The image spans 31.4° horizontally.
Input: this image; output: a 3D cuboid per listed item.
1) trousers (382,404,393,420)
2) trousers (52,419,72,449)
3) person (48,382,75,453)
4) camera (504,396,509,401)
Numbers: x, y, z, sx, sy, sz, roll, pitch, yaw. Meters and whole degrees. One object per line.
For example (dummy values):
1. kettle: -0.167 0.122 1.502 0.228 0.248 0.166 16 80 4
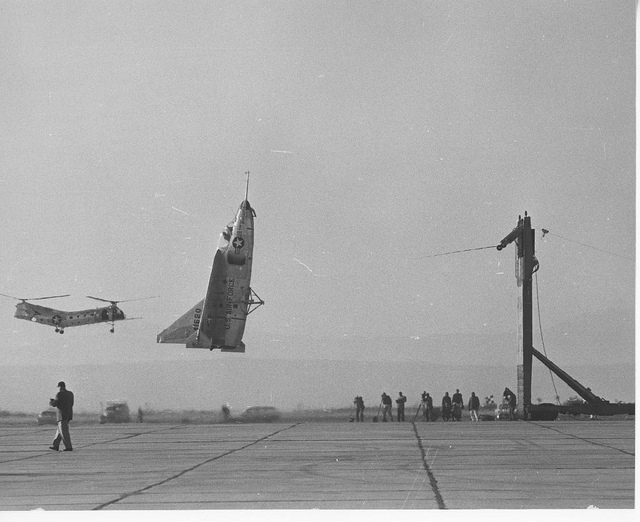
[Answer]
1. trousers: 0.824 1.856 14.080 0.137 0.337 0.099 2 -29 -1
2. trousers: -3.091 2.078 13.725 0.223 0.346 0.169 1 -15 -8
3. person: -3.122 1.887 13.779 0.314 0.840 0.263 4 -16 -18
4. camera: 2.282 1.681 14.060 0.054 0.050 0.034 -3 -16 5
